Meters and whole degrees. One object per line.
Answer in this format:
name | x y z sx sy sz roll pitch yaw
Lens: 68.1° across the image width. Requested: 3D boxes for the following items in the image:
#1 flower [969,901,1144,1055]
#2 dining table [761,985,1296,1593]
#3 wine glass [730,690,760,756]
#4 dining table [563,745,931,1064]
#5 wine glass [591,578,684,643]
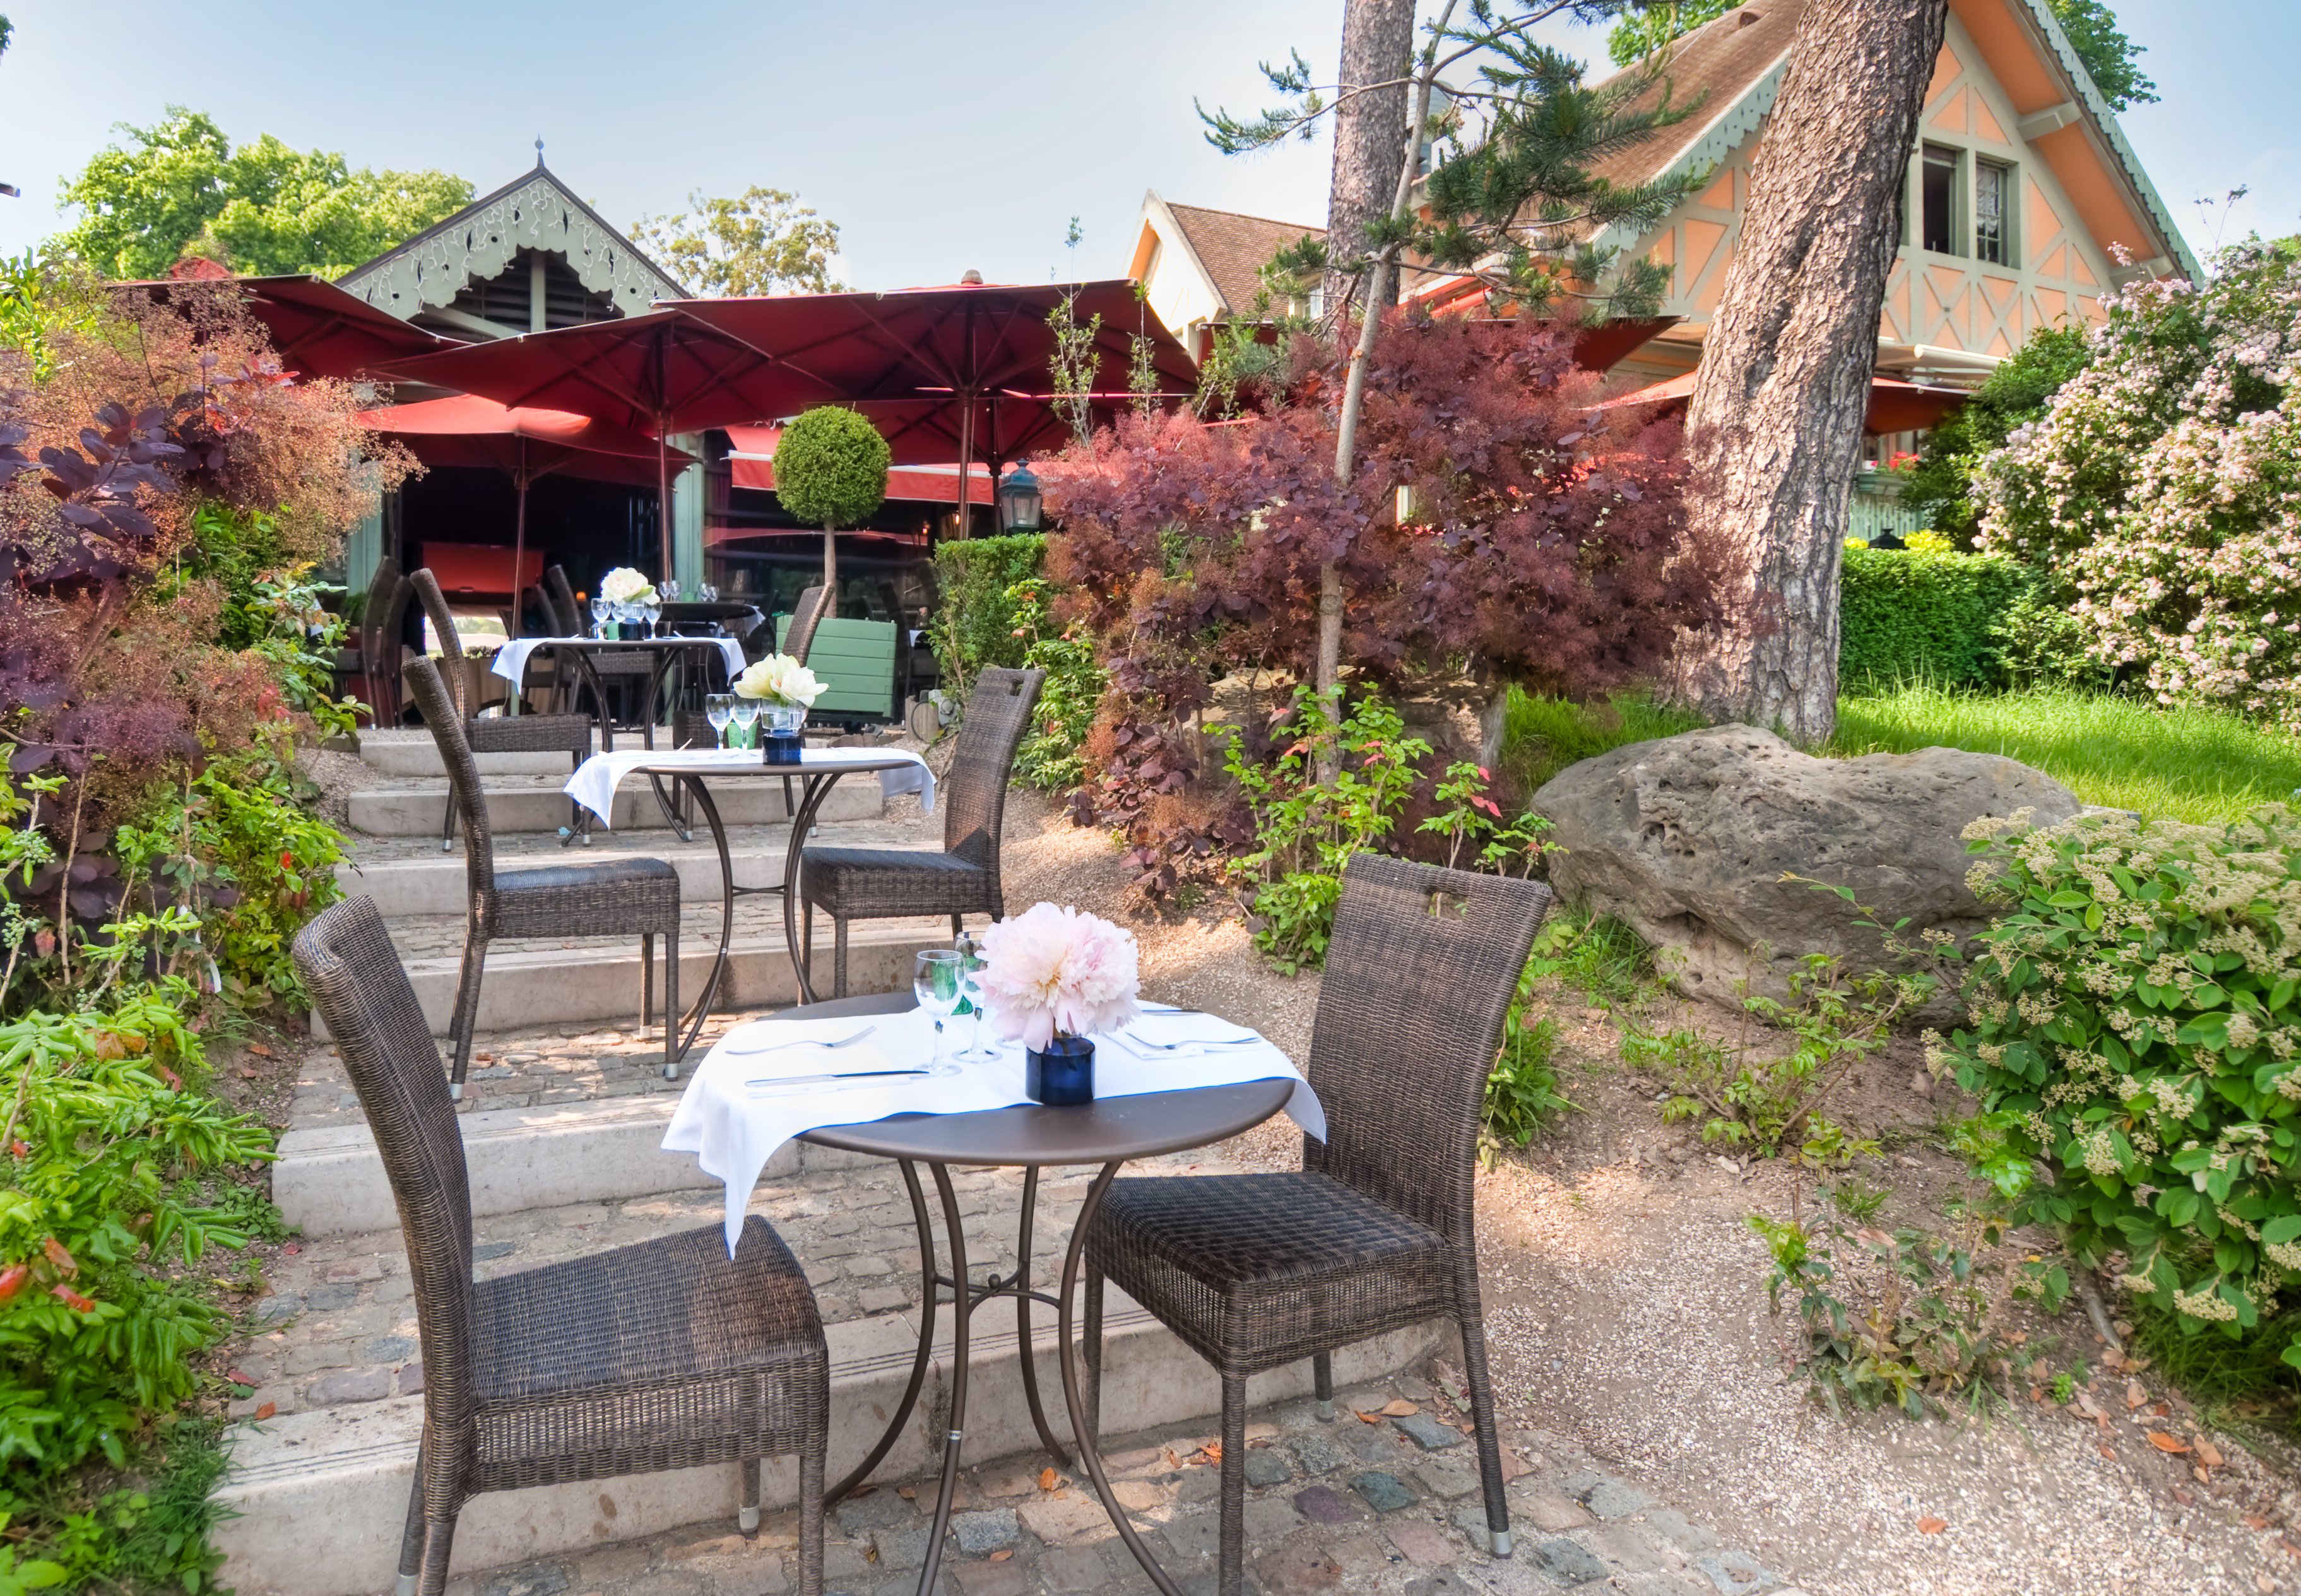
flower | -0.274 0.531 4.951 0.441 0.394 0.229 -1 10 -10
dining table | -0.221 1.563 5.324 1.646 1.314 1.583 -4 7 -28
wine glass | -1.791 -0.324 7.500 0.163 0.234 0.063 5 10 24
dining table | -1.836 0.531 7.985 1.445 1.410 1.561 -1 6 -15
wine glass | -3.084 -1.138 10.094 0.341 0.378 0.521 -2 10 -20
